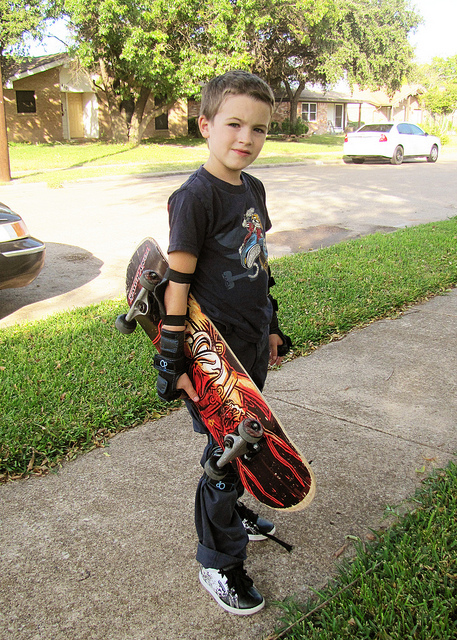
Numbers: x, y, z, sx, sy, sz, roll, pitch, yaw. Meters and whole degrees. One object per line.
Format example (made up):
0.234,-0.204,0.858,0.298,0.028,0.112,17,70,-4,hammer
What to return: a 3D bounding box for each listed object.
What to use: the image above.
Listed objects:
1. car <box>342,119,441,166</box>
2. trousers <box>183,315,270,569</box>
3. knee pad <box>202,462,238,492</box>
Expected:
6.967,-7.168,20.772,5.041,1.688,1.971,-10,13,-37,car
-0.015,0.330,1.668,0.141,0.875,0.238,-6,-24,-10,trousers
-0.030,0.497,1.534,0.084,0.104,0.072,-4,-34,-22,knee pad
